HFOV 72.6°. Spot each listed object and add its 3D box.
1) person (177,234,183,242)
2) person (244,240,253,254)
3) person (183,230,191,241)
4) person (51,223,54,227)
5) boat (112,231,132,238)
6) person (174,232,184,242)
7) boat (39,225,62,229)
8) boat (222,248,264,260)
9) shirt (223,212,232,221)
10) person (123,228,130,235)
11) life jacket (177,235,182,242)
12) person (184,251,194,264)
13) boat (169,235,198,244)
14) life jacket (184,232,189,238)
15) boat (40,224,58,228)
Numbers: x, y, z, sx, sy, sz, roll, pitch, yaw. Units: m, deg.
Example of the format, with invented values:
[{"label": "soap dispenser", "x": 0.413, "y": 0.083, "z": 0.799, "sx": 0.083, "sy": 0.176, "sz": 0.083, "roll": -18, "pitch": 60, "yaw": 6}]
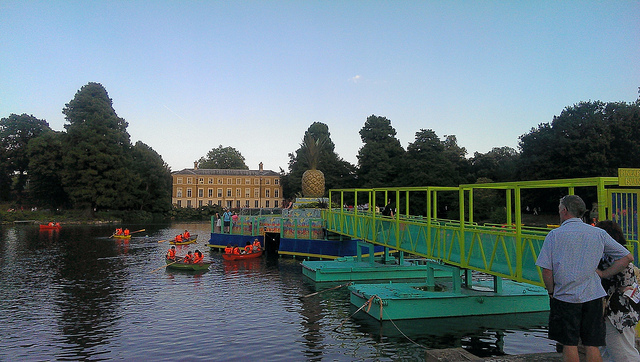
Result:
[{"label": "person", "x": -18.036, "y": 7.231, "z": 55.407, "sx": 0.622, "sy": 0.754, "sz": 0.757, "roll": 4, "pitch": -4, "yaw": -26}, {"label": "person", "x": -7.811, "y": 7.161, "z": 47.337, "sx": 0.656, "sy": 1.672, "sz": 1.093, "roll": 0, "pitch": -4, "yaw": 42}, {"label": "person", "x": -18.146, "y": 7.258, "z": 58.683, "sx": 1.022, "sy": 0.865, "sz": 2.496, "roll": 15, "pitch": 9, "yaw": -10}, {"label": "person", "x": -46.066, "y": 7.404, "z": 74.186, "sx": 0.312, "sy": 0.697, "sz": 1.268, "roll": -3, "pitch": 5, "yaw": -25}, {"label": "boat", "x": -28.757, "y": 7.660, "z": 62.307, "sx": 1.926, "sy": 0.503, "sz": 1.088, "roll": 3, "pitch": -6, "yaw": -3}, {"label": "person", "x": -18.086, "y": 7.243, "z": 55.405, "sx": 1.198, "sy": 0.728, "sz": 0.740, "roll": -2, "pitch": 5, "yaw": -24}, {"label": "boat", "x": -46.972, "y": 7.702, "z": 74.237, "sx": 5.072, "sy": 0.761, "sz": 1.158, "roll": 0, "pitch": -2, "yaw": 1}, {"label": "boat", "x": -8.078, "y": 7.784, "z": 46.153, "sx": 4.325, "sy": 0.667, "sz": 1.356, "roll": 2, "pitch": -6, "yaw": -40}, {"label": "shirt", "x": -11.374, "y": 4.361, "z": 53.184, "sx": 0.699, "sy": 1.002, "sz": 1.048, "roll": 2, "pitch": -8, "yaw": -12}, {"label": "person", "x": -28.045, "y": 7.223, "z": 62.565, "sx": 0.810, "sy": 0.809, "sz": 0.809, "roll": -8, "pitch": -15, "yaw": 34}, {"label": "life jacket", "x": -18.027, "y": 7.242, "z": 55.471, "sx": 0.531, "sy": 0.734, "sz": 0.868, "roll": -2, "pitch": 5, "yaw": -16}, {"label": "person", "x": -12.237, "y": 7.075, "z": 40.462, "sx": 1.211, "sy": 1.151, "sz": 0.811, "roll": 5, "pitch": -1, "yaw": -13}, {"label": "boat", "x": -17.735, "y": 7.576, "z": 56.564, "sx": 3.551, "sy": 0.593, "sz": 1.099, "roll": -1, "pitch": 4, "yaw": -42}, {"label": "life jacket", "x": -17.482, "y": 6.899, "z": 56.151, "sx": 0.635, "sy": 0.716, "sz": 0.426, "roll": 1, "pitch": -11, "yaw": -9}, {"label": "boat", "x": -46.635, "y": 7.765, "z": 74.293, "sx": 3.821, "sy": 0.571, "sz": 0.918, "roll": 2, "pitch": -7, "yaw": 12}]
